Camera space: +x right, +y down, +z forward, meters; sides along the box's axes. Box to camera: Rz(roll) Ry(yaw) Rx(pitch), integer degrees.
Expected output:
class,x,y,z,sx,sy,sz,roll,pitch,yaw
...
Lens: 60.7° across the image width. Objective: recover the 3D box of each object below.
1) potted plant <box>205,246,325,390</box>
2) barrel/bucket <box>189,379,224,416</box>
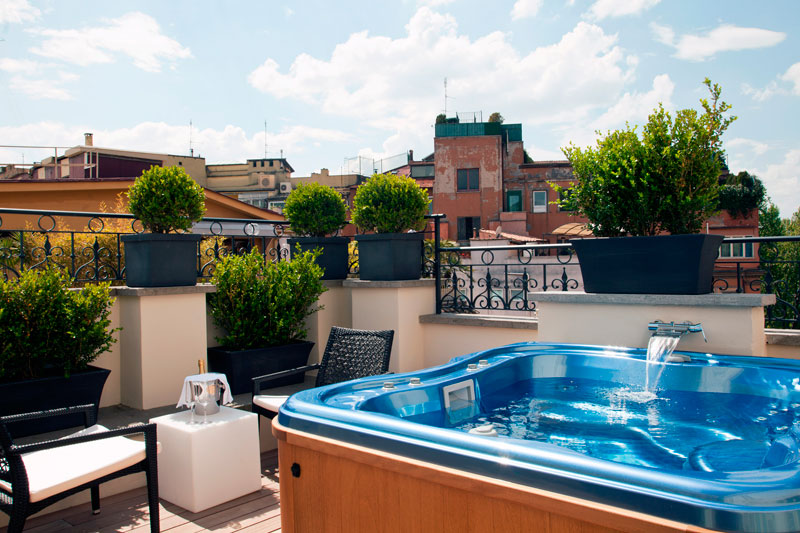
class,x,y,z,sx,sy,sz,roll,pitch,yaw
potted plant,-1.400,0.572,7.036,0.874,1.551,1.436,-2,-1,40
barrel/bucket,-1.657,1.114,5.873,0.271,0.304,0.280,1,-3,0
